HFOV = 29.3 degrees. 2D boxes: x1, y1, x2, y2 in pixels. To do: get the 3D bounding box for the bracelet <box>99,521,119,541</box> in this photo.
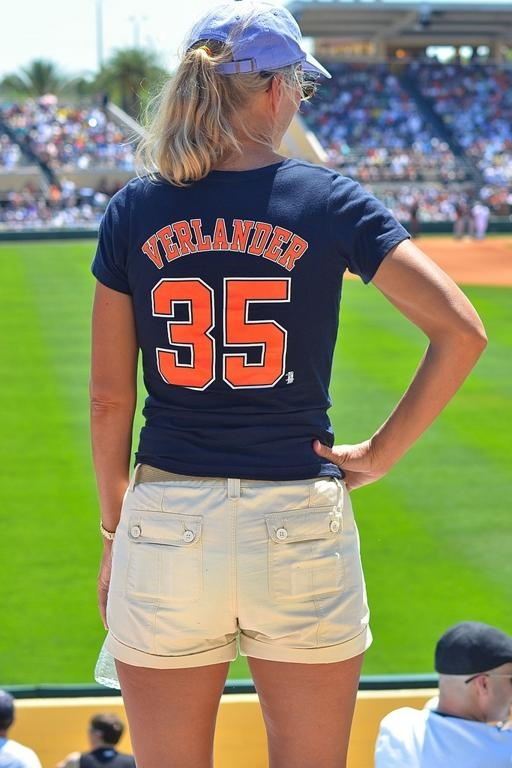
[{"bbox_3d":[-0.306,0.307,2.024,0.040,0.037,0.018,-2,-11,3],"label":"bracelet"}]
